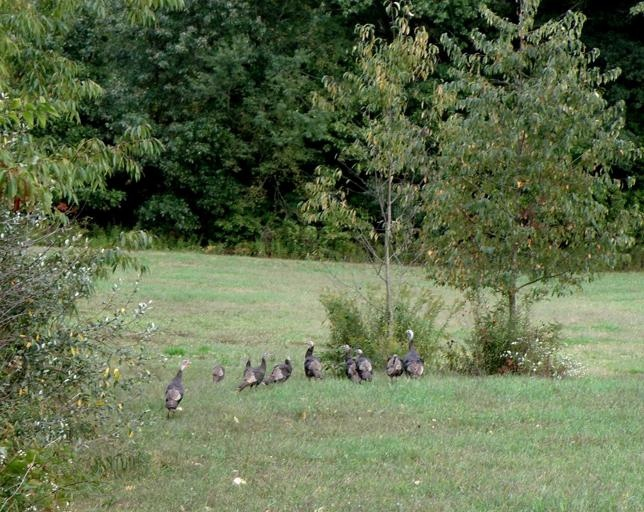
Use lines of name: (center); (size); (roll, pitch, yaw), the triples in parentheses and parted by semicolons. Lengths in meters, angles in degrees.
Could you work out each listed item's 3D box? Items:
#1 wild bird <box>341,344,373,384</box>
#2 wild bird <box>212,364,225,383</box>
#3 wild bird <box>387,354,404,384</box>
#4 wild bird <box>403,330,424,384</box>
wild bird: (0.944, 2.759, 34.752); (0.813, 0.814, 2.224); (0, 5, 1)
wild bird: (-2.630, 3.005, 33.737); (0.295, 0.489, 1.145); (0, 5, -7)
wild bird: (1.881, 2.877, 33.999); (0.439, 0.735, 0.850); (0, 5, 4)
wild bird: (2.351, 2.711, 34.119); (0.357, 1.216, 1.170); (-4, 35, -9)
